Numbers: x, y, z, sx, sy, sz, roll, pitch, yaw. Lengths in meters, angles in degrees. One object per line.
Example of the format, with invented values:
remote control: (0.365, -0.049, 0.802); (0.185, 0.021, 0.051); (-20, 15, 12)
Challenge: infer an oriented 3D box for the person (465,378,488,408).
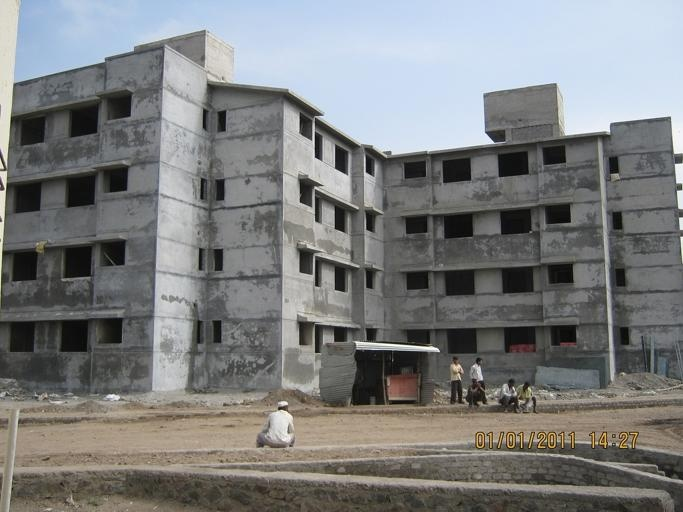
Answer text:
person: (5.447, 5.406, 28.288); (0.759, 1.235, 0.977); (6, -17, -43)

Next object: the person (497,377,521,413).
person: (6.165, 5.137, 26.373); (0.688, 1.199, 1.028); (-10, -17, 38)

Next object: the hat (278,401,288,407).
hat: (-1.341, 3.477, 16.833); (0.201, 0.095, 0.282); (-1, -3, 20)

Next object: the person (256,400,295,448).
person: (-1.493, 4.133, 16.878); (0.895, 1.392, 1.046); (7, -2, -5)
